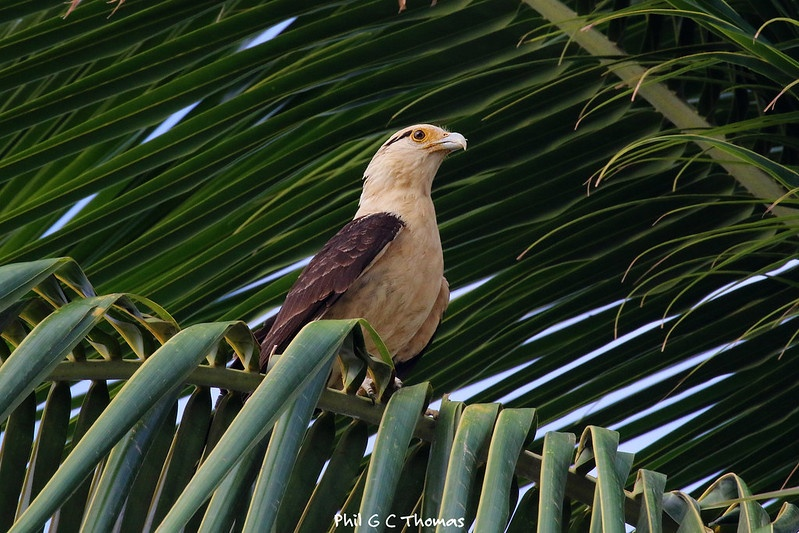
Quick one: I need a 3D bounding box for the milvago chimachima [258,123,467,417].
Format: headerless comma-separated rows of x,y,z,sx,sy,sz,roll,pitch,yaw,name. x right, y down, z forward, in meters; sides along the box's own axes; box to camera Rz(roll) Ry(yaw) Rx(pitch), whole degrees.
-0.140,0.026,6.711,0.968,0.924,0.529,-22,-47,23,milvago chimachima
